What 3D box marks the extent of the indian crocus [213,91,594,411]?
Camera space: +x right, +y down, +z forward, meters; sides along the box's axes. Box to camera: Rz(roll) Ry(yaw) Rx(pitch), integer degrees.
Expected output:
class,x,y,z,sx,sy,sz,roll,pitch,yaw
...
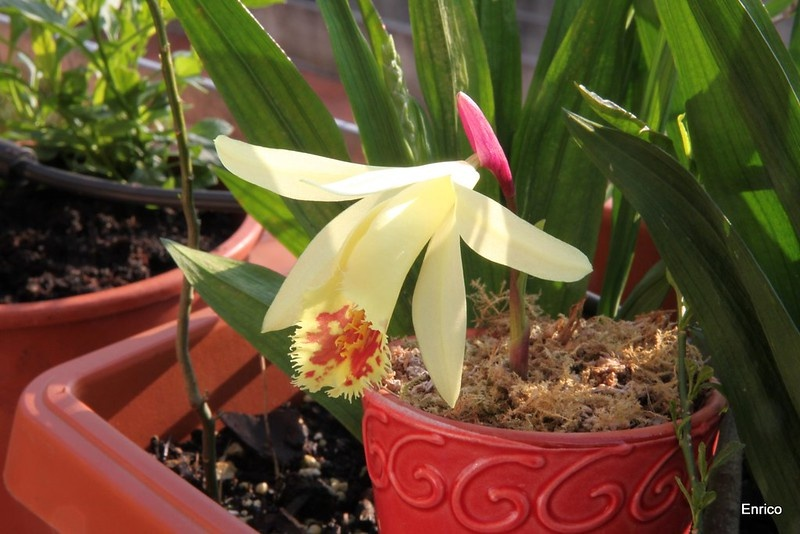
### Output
class,x,y,z,sx,sy,sz,roll,pitch,yaw
indian crocus,0.025,-0.020,0.891,0.368,0.208,0.406,23,79,20
